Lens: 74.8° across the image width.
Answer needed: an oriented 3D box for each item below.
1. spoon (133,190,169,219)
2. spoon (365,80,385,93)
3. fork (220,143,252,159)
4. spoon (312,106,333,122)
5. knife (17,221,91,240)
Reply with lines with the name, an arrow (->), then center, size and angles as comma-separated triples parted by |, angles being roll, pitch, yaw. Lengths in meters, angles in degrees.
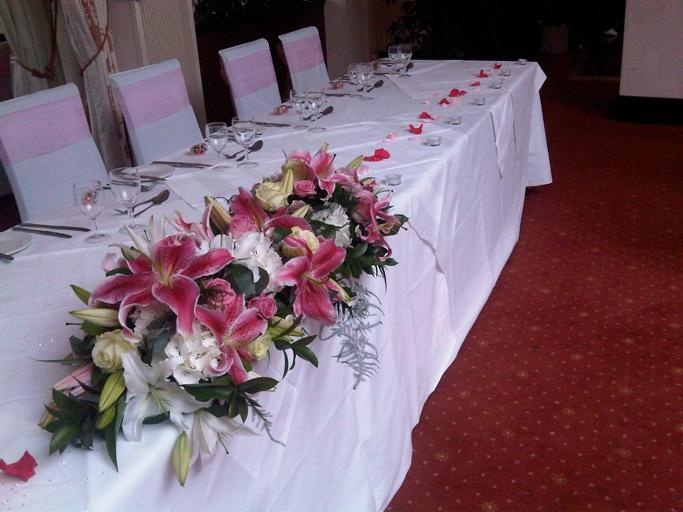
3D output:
spoon -> -0.627, -0.185, 1.504 | 0.042, 0.027, 0.179 | 19, 38, 15
spoon -> 0.220, -1.061, 2.774 | 0.039, 0.059, 0.233 | -26, 13, 38
fork -> -0.467, -0.448, 1.917 | 0.057, 0.049, 0.251 | -32, 24, -15
spoon -> -0.096, -0.743, 2.332 | 0.044, 0.030, 0.165 | 38, 38, 7
knife -> -0.895, -0.075, 1.390 | 0.149, 0.009, 0.045 | 7, 34, 16
